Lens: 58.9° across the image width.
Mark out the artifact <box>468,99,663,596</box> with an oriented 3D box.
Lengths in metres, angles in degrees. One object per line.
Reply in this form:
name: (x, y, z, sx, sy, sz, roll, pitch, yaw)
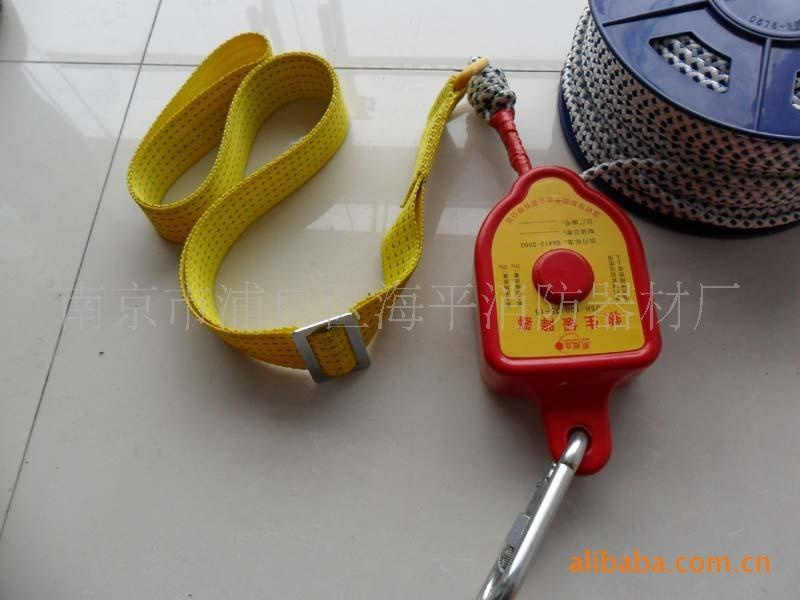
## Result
artifact: (0.231, 0.097, 0.977, 0.251, 0.094, 0.582, 0, 69, 4)
